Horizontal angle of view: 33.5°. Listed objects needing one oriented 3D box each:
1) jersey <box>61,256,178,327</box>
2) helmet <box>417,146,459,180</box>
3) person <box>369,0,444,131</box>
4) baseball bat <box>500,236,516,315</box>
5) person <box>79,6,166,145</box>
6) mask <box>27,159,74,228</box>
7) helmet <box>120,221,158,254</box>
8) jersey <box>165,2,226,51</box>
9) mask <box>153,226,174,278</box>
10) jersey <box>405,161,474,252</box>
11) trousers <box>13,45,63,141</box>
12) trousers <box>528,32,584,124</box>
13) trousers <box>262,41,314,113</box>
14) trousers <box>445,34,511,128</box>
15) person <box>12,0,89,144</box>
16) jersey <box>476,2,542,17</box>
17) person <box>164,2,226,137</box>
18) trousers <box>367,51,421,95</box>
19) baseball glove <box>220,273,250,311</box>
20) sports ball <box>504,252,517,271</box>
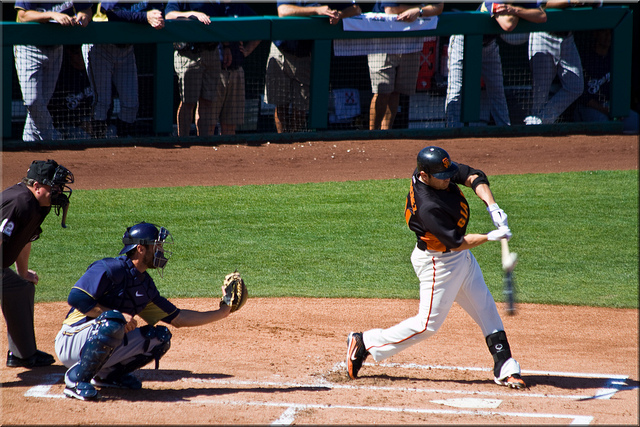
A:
[{"bbox_3d":[-2.592,1.052,13.764,0.534,0.743,0.754,32,-5,37],"label":"jersey"},{"bbox_3d":[1.485,-0.701,13.477,0.576,0.308,0.447,19,45,32],"label":"helmet"},{"bbox_3d":[1.536,-2.832,20.206,1.190,2.482,0.812,1,8,3],"label":"person"},{"bbox_3d":[2.412,0.898,13.492,0.182,1.536,0.185,0,-3,0],"label":"baseball bat"},{"bbox_3d":[-3.695,-2.513,19.293,1.296,2.506,0.788,-2,8,-12],"label":"person"},{"bbox_3d":[-3.483,-0.277,13.721,0.665,0.922,0.640,0,6,-23],"label":"mask"},{"bbox_3d":[-2.322,0.334,13.519,0.587,0.431,0.429,-4,7,-17],"label":"helmet"},{"bbox_3d":[-2.196,-3.576,19.262,0.819,1.037,0.372,1,-17,-4],"label":"jersey"},{"bbox_3d":[-2.016,0.486,13.519,0.235,0.573,0.467,8,0,4],"label":"mask"},{"bbox_3d":[1.482,-0.034,13.438,0.778,1.039,0.514,1,8,4],"label":"jersey"},{"bbox_3d":[-5.005,-2.160,18.868,0.850,1.727,0.553,-4,9,-27],"label":"trousers"},{"bbox_3d":[4.587,-2.545,20.860,1.070,2.002,0.891,7,-19,8],"label":"trousers"},{"bbox_3d":[-0.586,-2.665,19.917,1.157,1.432,0.238,11,28,-2],"label":"trousers"},{"bbox_3d":[2.998,-2.668,20.509,1.273,2.753,0.619,-12,49,2],"label":"trousers"},{"bbox_3d":[-4.857,-2.533,18.842,1.104,2.547,0.663,-2,9,-15],"label":"person"},{"bbox_3d":[3.585,-3.921,20.158,1.061,0.293,0.601,1,8,7],"label":"jersey"},{"bbox_3d":[-2.285,-2.669,19.513,0.976,2.512,0.719,0,8,0],"label":"person"},{"bbox_3d":[1.382,-2.679,19.993,0.963,0.784,0.340,1,8,4],"label":"trousers"},{"bbox_3d":[-1.162,1.046,13.935,0.247,0.446,0.602,11,31,-11],"label":"baseball glove"},{"bbox_3d":[2.417,0.598,13.405,0.156,0.202,0.185,14,-8,18],"label":"sports ball"}]
